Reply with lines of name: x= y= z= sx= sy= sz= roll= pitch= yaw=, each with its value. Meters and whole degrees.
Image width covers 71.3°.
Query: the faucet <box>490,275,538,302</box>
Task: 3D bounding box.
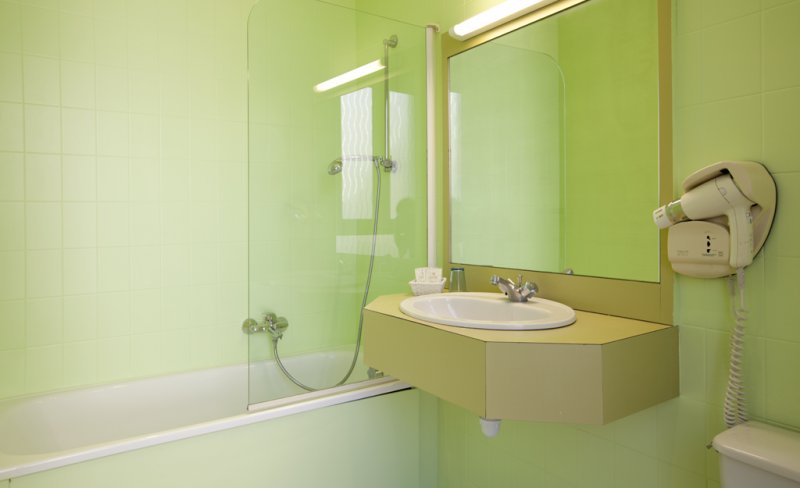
faucet: x=0.554 y=0.220 z=2.669 sx=0.287 sy=0.151 sz=0.100 roll=2 pitch=-4 yaw=10

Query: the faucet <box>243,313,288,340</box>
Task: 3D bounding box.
faucet: x=-0.715 y=0.441 z=2.999 sx=0.207 sy=0.139 sz=0.080 roll=7 pitch=-6 yaw=-4
